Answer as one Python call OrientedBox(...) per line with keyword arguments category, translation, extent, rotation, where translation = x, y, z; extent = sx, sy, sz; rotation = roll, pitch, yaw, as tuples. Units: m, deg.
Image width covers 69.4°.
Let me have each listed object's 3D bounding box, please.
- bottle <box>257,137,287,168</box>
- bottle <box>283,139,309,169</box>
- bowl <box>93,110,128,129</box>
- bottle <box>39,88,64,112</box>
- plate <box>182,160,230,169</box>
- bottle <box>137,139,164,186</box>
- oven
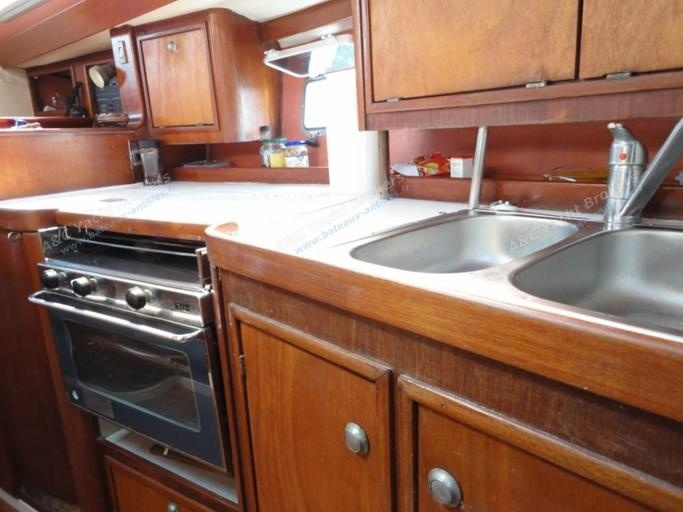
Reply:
OrientedBox(category="bottle", translation=(-0.342, -0.516, 2.487), extent=(0.178, 0.153, 0.156), rotation=(-2, 14, -10))
OrientedBox(category="bottle", translation=(-0.218, -0.492, 2.398), extent=(0.121, 0.121, 0.193), rotation=(-4, 15, -3))
OrientedBox(category="bowl", translation=(-1.399, -0.825, 3.032), extent=(0.162, 0.068, 0.676), rotation=(-9, 16, -22))
OrientedBox(category="bottle", translation=(-2.282, -1.202, 3.879), extent=(0.131, 0.163, 0.378), rotation=(-18, 22, -42))
OrientedBox(category="plate", translation=(-0.783, -0.525, 2.835), extent=(0.223, 0.035, 0.367), rotation=(-12, 17, -32))
OrientedBox(category="bottle", translation=(-1.064, -0.522, 2.746), extent=(0.116, 0.237, 0.182), rotation=(-8, 18, -17))
OrientedBox(category="oven", translation=(-0.636, 0.274, 1.826), extent=(0.874, 0.771, 0.617), rotation=(7, 17, 28))
